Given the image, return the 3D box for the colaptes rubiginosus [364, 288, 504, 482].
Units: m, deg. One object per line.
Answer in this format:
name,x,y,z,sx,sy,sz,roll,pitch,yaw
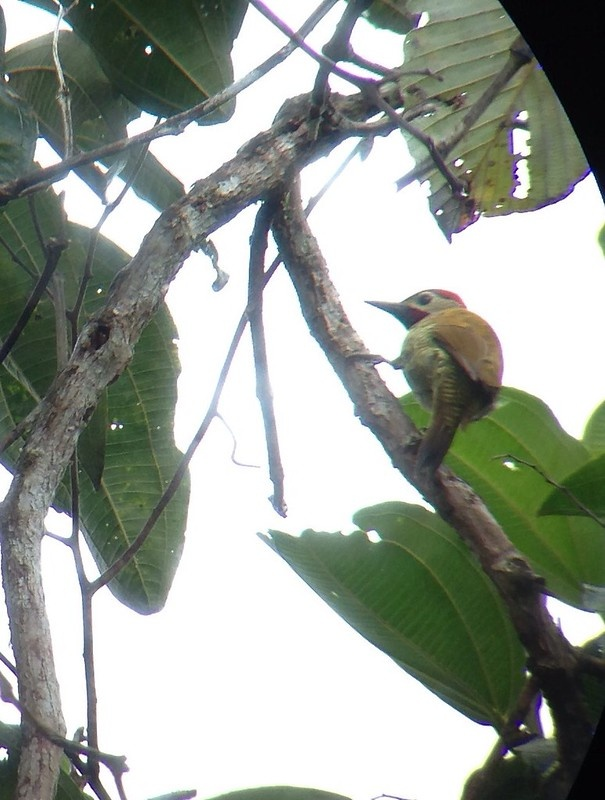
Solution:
colaptes rubiginosus,0.148,-0.034,1.516,0.195,0.241,0.070,1,-35,31
